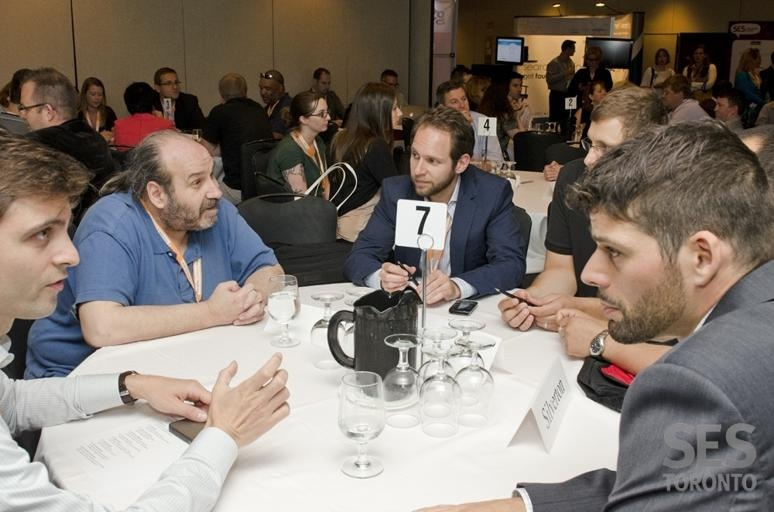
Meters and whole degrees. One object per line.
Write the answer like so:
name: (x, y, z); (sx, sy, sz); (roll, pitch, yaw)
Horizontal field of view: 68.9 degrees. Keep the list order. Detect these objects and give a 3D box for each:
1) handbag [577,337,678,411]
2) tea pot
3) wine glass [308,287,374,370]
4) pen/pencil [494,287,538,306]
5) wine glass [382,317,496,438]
handbag: (0.586, 0.294, 1.391); (0.167, 0.052, 0.170); (18, 49, 32)
tea pot: (-0.037, 0.206, 1.548); (0.268, 0.282, 0.186); (-1, 6, 3)
wine glass: (-0.146, 0.226, 1.773); (0.236, 0.247, 0.168); (-5, 9, -34)
pen/pencil: (0.492, 0.157, 2.160); (0.141, 0.015, 0.015); (25, 6, -20)
wine glass: (0.166, 0.287, 1.505); (0.280, 0.187, 0.264); (0, 8, 3)
